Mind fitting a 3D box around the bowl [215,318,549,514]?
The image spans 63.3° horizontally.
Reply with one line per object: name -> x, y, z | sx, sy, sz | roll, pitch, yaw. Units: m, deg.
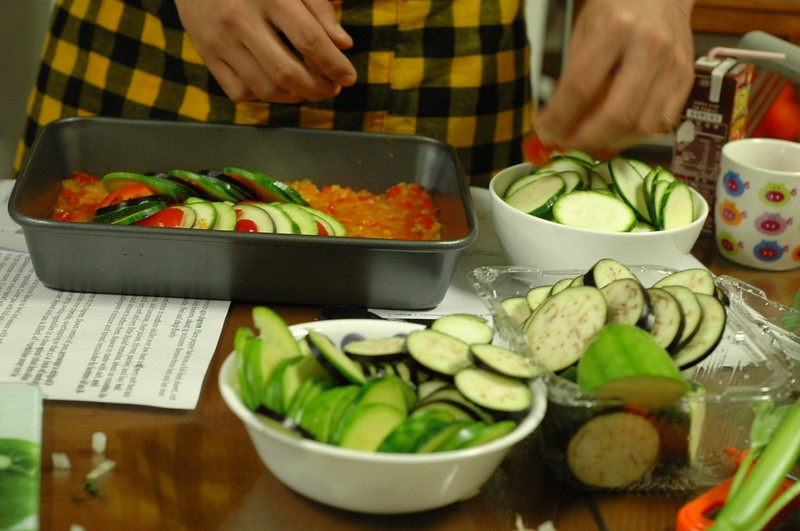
bowl -> -0.027, 0.208, 0.813 | 0.398, 0.157, 0.160 | 7, 30, 12

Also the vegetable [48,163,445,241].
vegetable -> -0.261, -0.124, 1.279 | 0.539, 0.073, 0.289 | 1, 26, -7

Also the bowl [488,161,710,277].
bowl -> 0.315, -0.077, 1.101 | 0.222, 0.082, 0.207 | 2, 26, -1
